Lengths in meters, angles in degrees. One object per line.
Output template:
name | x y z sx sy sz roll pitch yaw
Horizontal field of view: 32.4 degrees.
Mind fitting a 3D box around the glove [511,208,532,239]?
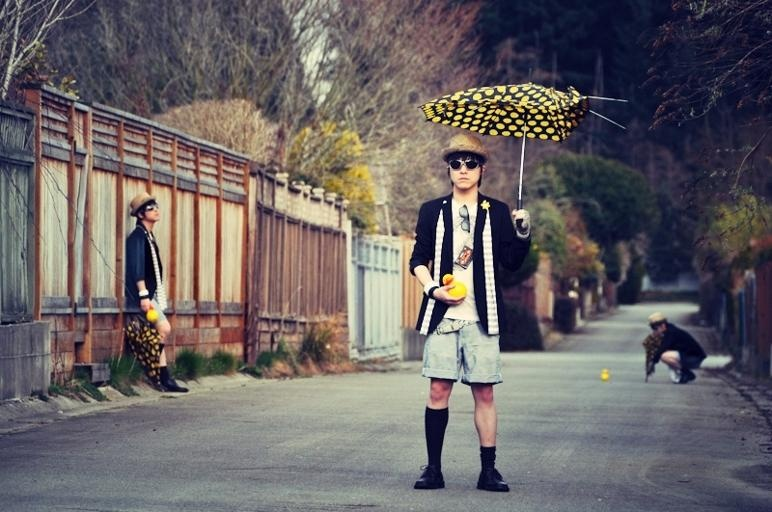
glove | 1.547 -0.368 15.601 0.241 0.357 0.116 -12 16 -44

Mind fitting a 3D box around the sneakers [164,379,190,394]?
sneakers | -3.286 2.047 20.310 0.428 0.213 0.147 0 0 -8

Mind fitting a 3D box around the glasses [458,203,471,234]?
glasses | 0.912 -0.423 15.667 0.078 0.250 0.241 -3 -43 -29

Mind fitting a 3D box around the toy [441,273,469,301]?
toy | 0.778 0.370 15.508 0.294 0.281 0.210 2 4 0

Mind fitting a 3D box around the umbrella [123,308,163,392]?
umbrella | -3.804 1.478 20.247 0.633 1.113 0.247 4 5 24

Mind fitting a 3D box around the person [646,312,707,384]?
person | 5.529 1.833 25.256 1.058 1.274 0.841 -1 -8 21

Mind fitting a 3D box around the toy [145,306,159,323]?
toy | -3.665 0.911 20.077 0.125 0.133 0.177 -31 39 -8

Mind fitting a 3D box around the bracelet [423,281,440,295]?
bracelet | 0.498 0.394 15.595 0.156 0.118 0.162 -20 -26 -31

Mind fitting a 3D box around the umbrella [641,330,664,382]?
umbrella | 5.237 1.985 25.545 0.251 0.992 0.584 -3 4 2

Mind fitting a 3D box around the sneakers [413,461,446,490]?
sneakers | 0.491 2.619 15.574 0.347 0.253 0.222 2 -4 6

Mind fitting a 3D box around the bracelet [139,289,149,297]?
bracelet | -3.774 0.571 20.068 0.094 0.121 0.129 -2 3 9

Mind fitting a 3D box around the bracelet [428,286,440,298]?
bracelet | 0.527 0.436 15.548 0.115 0.133 0.117 -10 -31 37

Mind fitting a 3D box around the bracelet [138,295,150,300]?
bracelet | -3.762 0.626 20.076 0.164 0.090 0.147 0 5 -24
